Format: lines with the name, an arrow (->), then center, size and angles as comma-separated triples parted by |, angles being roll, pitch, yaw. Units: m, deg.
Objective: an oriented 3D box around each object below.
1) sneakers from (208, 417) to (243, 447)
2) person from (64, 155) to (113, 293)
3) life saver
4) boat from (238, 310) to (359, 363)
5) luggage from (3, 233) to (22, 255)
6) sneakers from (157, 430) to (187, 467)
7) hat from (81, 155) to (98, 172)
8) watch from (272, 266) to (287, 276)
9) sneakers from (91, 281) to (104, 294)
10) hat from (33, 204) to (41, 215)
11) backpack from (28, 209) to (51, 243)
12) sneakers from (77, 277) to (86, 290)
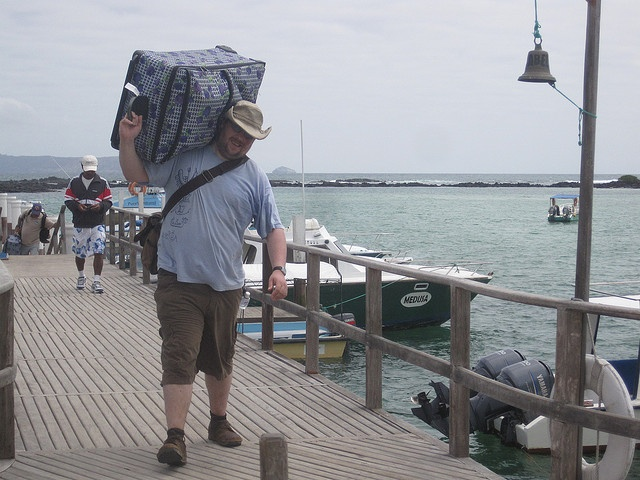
sneakers -> -0.656, 1.285, 4.960 | 0.113, 0.149, 0.297 | 5, -5, -37
person -> -3.425, -0.190, 10.766 | 0.646, 2.012, 1.441 | 3, 3, -18
life saver -> 1.932, 1.193, 4.907 | 0.338, 0.696, 0.360 | 5, 3, 22
boat -> -0.769, 1.652, 12.900 | 2.789, 0.951, 0.970 | 2, 5, -10
luggage -> -7.198, 0.111, 17.128 | 0.397, 0.468, 0.244 | 13, -12, -42
sneakers -> -0.913, 1.265, 4.546 | 0.182, 0.264, 0.159 | 3, 3, -11
hat -> -3.284, -1.056, 10.415 | 0.211, 0.232, 0.512 | 3, 3, -20
watch -> -0.262, 0.206, 4.860 | 0.060, 0.070, 0.027 | -3, 38, -5
sneakers -> -3.411, 0.725, 11.237 | 0.117, 0.162, 0.335 | 1, -5, -30
hat -> -6.282, -0.683, 16.254 | 0.183, 0.156, 0.291 | 17, 39, -33
backpack -> -6.487, -0.312, 17.241 | 0.399, 0.607, 0.605 | 8, 18, 0
sneakers -> -3.756, 0.674, 11.503 | 0.090, 0.131, 0.286 | 0, 0, -9
